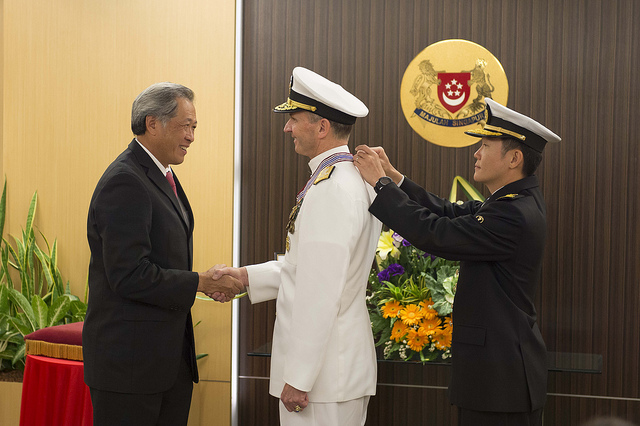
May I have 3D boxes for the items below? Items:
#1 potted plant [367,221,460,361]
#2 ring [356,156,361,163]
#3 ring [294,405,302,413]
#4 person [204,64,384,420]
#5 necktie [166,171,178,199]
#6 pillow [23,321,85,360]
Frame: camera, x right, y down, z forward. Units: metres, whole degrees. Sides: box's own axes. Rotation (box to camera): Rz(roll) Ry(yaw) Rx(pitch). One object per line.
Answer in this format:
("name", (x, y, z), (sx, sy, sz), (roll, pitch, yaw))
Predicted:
("potted plant", (0.494, 0.470, 4.415), (0.743, 0.856, 0.684), (0, -7, -8))
("ring", (0.207, -0.294, 3.756), (0.025, 0.027, 0.006), (3, 10, -35))
("ring", (-0.115, 0.998, 3.514), (0.027, 0.045, 0.012), (6, 9, 2))
("person", (0.022, 0.149, 3.669), (0.589, 1.862, 0.357), (-1, -9, 4))
("necktie", (-0.866, -0.175, 4.008), (0.034, 0.134, 0.123), (-2, -10, 12))
("pillow", (-1.714, 0.840, 4.456), (0.339, 0.167, 0.367), (-3, -10, 23))
